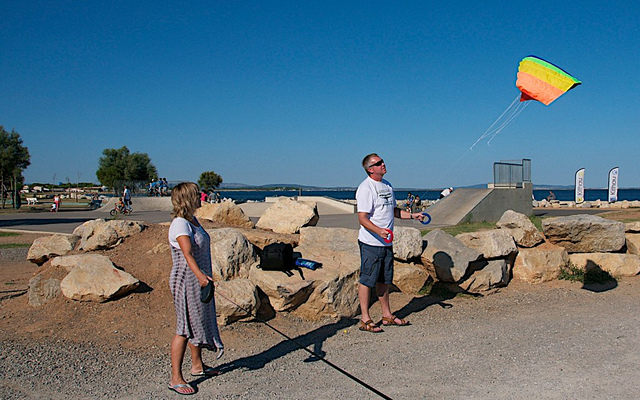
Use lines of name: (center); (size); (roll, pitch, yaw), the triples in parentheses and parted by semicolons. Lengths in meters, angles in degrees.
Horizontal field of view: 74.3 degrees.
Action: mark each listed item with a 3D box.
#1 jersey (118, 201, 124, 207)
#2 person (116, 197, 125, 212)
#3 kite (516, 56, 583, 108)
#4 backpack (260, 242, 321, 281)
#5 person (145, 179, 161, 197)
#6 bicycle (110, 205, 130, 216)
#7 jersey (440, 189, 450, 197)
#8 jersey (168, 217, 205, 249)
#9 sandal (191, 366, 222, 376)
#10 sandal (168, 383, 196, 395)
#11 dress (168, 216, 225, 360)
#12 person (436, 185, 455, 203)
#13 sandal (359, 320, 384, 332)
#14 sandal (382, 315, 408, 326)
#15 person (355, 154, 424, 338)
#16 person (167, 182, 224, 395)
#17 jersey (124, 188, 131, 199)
jersey: (-14.060, 0.279, 29.795); (0.269, 0.369, 0.134); (0, -5, -29)
person: (-14.187, 0.307, 29.943); (0.460, 0.779, 0.498); (14, -35, -40)
kite: (7.673, -4.161, 14.692); (0.673, 1.540, 2.264); (-2, 14, -6)
backpack: (-0.509, 0.902, 6.788); (0.951, 0.342, 0.699); (8, 14, 17)
person: (-15.937, -1.190, 40.334); (0.773, 1.192, 2.496); (-9, 16, -31)
bicycle: (-13.987, 0.759, 29.606); (1.318, 0.786, 0.696); (5, -2, -21)
jersey: (7.142, -0.427, 24.183); (0.418, 0.415, 0.777); (3, 14, 10)
jersey: (-1.888, 0.480, 5.955); (0.518, 0.303, 0.539); (20, 24, -31)
sandal: (-1.686, 2.510, 6.202); (0.361, 0.098, 0.126); (1, -1, -13)
sandal: (-1.946, 2.599, 5.903); (0.350, 0.093, 0.152); (3, 2, 23)
dress: (-1.760, 1.226, 6.186); (0.700, 1.747, 0.770); (1, 1, 33)
person: (7.045, -0.388, 23.946); (0.751, 1.075, 2.834); (5, 14, 18)
sandal: (0.916, 2.233, 7.530); (0.424, 0.172, 0.169); (-1, 1, 14)
sandal: (1.371, 2.183, 7.729); (0.460, 0.185, 0.167); (-3, 1, -6)
person: (1.095, 0.822, 7.457); (0.922, 3.171, 1.088); (1, 14, 5)
person: (-1.877, 1.231, 5.961); (0.766, 2.818, 0.874); (-6, 15, -21)
jersey: (-14.032, -0.437, 30.703); (0.466, 0.811, 0.753); (-8, 16, -20)
